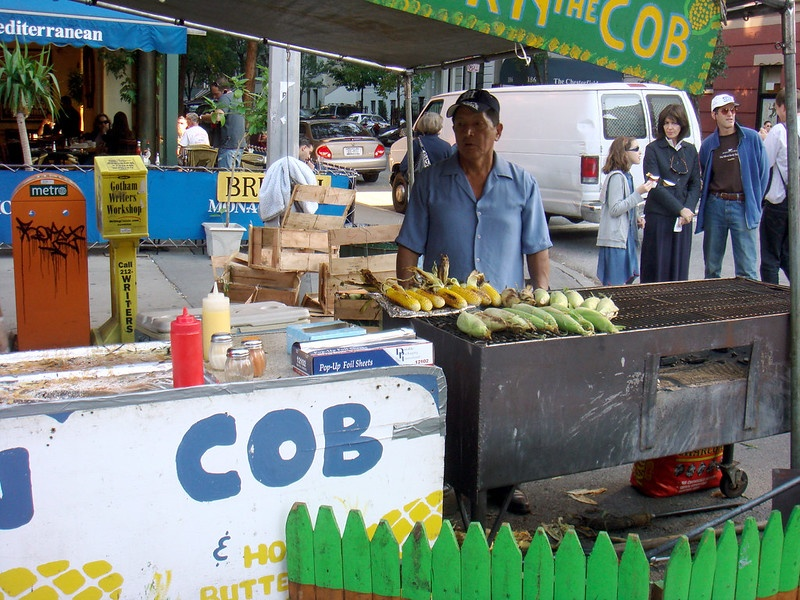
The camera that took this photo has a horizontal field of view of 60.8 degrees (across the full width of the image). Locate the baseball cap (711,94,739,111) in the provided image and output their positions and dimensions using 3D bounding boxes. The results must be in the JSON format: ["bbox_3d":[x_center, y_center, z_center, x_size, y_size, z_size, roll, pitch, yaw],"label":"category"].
[{"bbox_3d":[3.732,-2.293,7.962,0.197,0.164,0.297,-6,6,-10],"label":"baseball cap"}]

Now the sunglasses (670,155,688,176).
[{"bbox_3d":[3.146,-1.516,7.705,0.143,0.222,0.048,2,-2,-6],"label":"sunglasses"}]

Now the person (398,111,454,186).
[{"bbox_3d":[0.342,-2.252,9.728,0.811,0.941,1.541,-7,26,-16],"label":"person"}]

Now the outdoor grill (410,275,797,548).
[{"bbox_3d":[1.223,0.558,3.988,2.262,0.985,0.671,-5,11,-22],"label":"outdoor grill"}]

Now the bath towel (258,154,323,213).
[{"bbox_3d":[-1.311,-1.273,8.308,0.609,0.774,0.326,16,0,36],"label":"bath towel"}]

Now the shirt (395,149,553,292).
[{"bbox_3d":[0.490,-0.510,4.849,1.389,1.298,0.764,1,6,2],"label":"shirt"}]

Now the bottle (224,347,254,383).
[{"bbox_3d":[-0.695,0.282,2.990,0.123,0.190,0.129,-2,4,0],"label":"bottle"}]

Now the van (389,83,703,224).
[{"bbox_3d":[3.064,-3.009,13.670,2.739,2.337,5.245,-4,16,-32],"label":"van"}]
